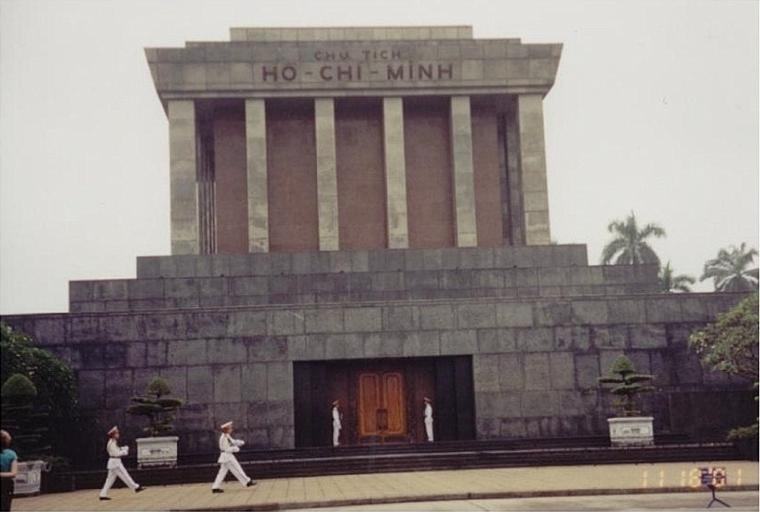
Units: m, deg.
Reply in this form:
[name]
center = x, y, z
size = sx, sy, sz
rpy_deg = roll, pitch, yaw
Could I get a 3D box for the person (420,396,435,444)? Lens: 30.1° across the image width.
[person]
center = 1.782, 5.785, 50.780
size = 0.365, 1.636, 0.777
rpy_deg = -5, -12, -1
